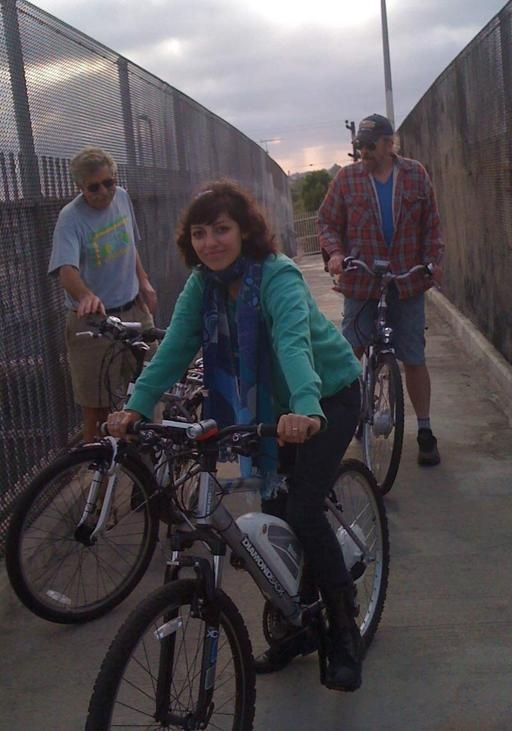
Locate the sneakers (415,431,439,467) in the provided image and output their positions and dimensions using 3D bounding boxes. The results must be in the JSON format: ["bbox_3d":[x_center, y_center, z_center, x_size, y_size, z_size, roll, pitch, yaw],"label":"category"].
[{"bbox_3d":[1.218,0.591,4.319,0.104,0.206,0.296,0,5,13],"label":"sneakers"}]

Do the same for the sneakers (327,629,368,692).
[{"bbox_3d":[0.277,0.932,1.918,0.108,0.201,0.140,-3,9,11],"label":"sneakers"}]

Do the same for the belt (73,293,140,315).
[{"bbox_3d":[-0.750,-0.300,3.109,0.239,0.064,0.191,-4,0,-27],"label":"belt"}]
